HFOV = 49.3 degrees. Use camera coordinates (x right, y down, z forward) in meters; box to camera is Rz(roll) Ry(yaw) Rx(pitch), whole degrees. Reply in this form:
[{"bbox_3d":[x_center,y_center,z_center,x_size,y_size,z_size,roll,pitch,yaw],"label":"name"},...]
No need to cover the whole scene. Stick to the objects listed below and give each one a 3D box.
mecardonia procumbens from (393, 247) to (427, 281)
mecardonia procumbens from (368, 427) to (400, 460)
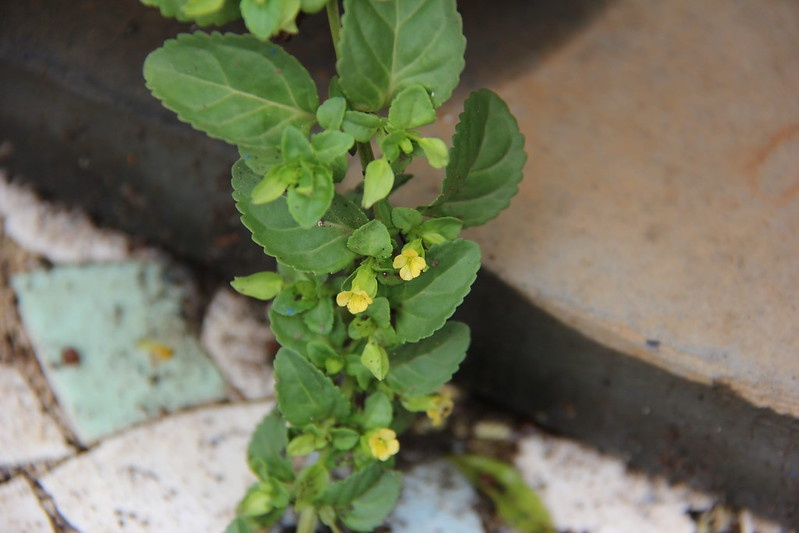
[{"bbox_3d":[0.029,-0.014,2.558,0.079,0.053,0.083,40,63,17],"label":"mecardonia procumbens"},{"bbox_3d":[-0.054,0.556,2.698,0.090,0.128,0.093,-6,58,-9],"label":"mecardonia procumbens"}]
